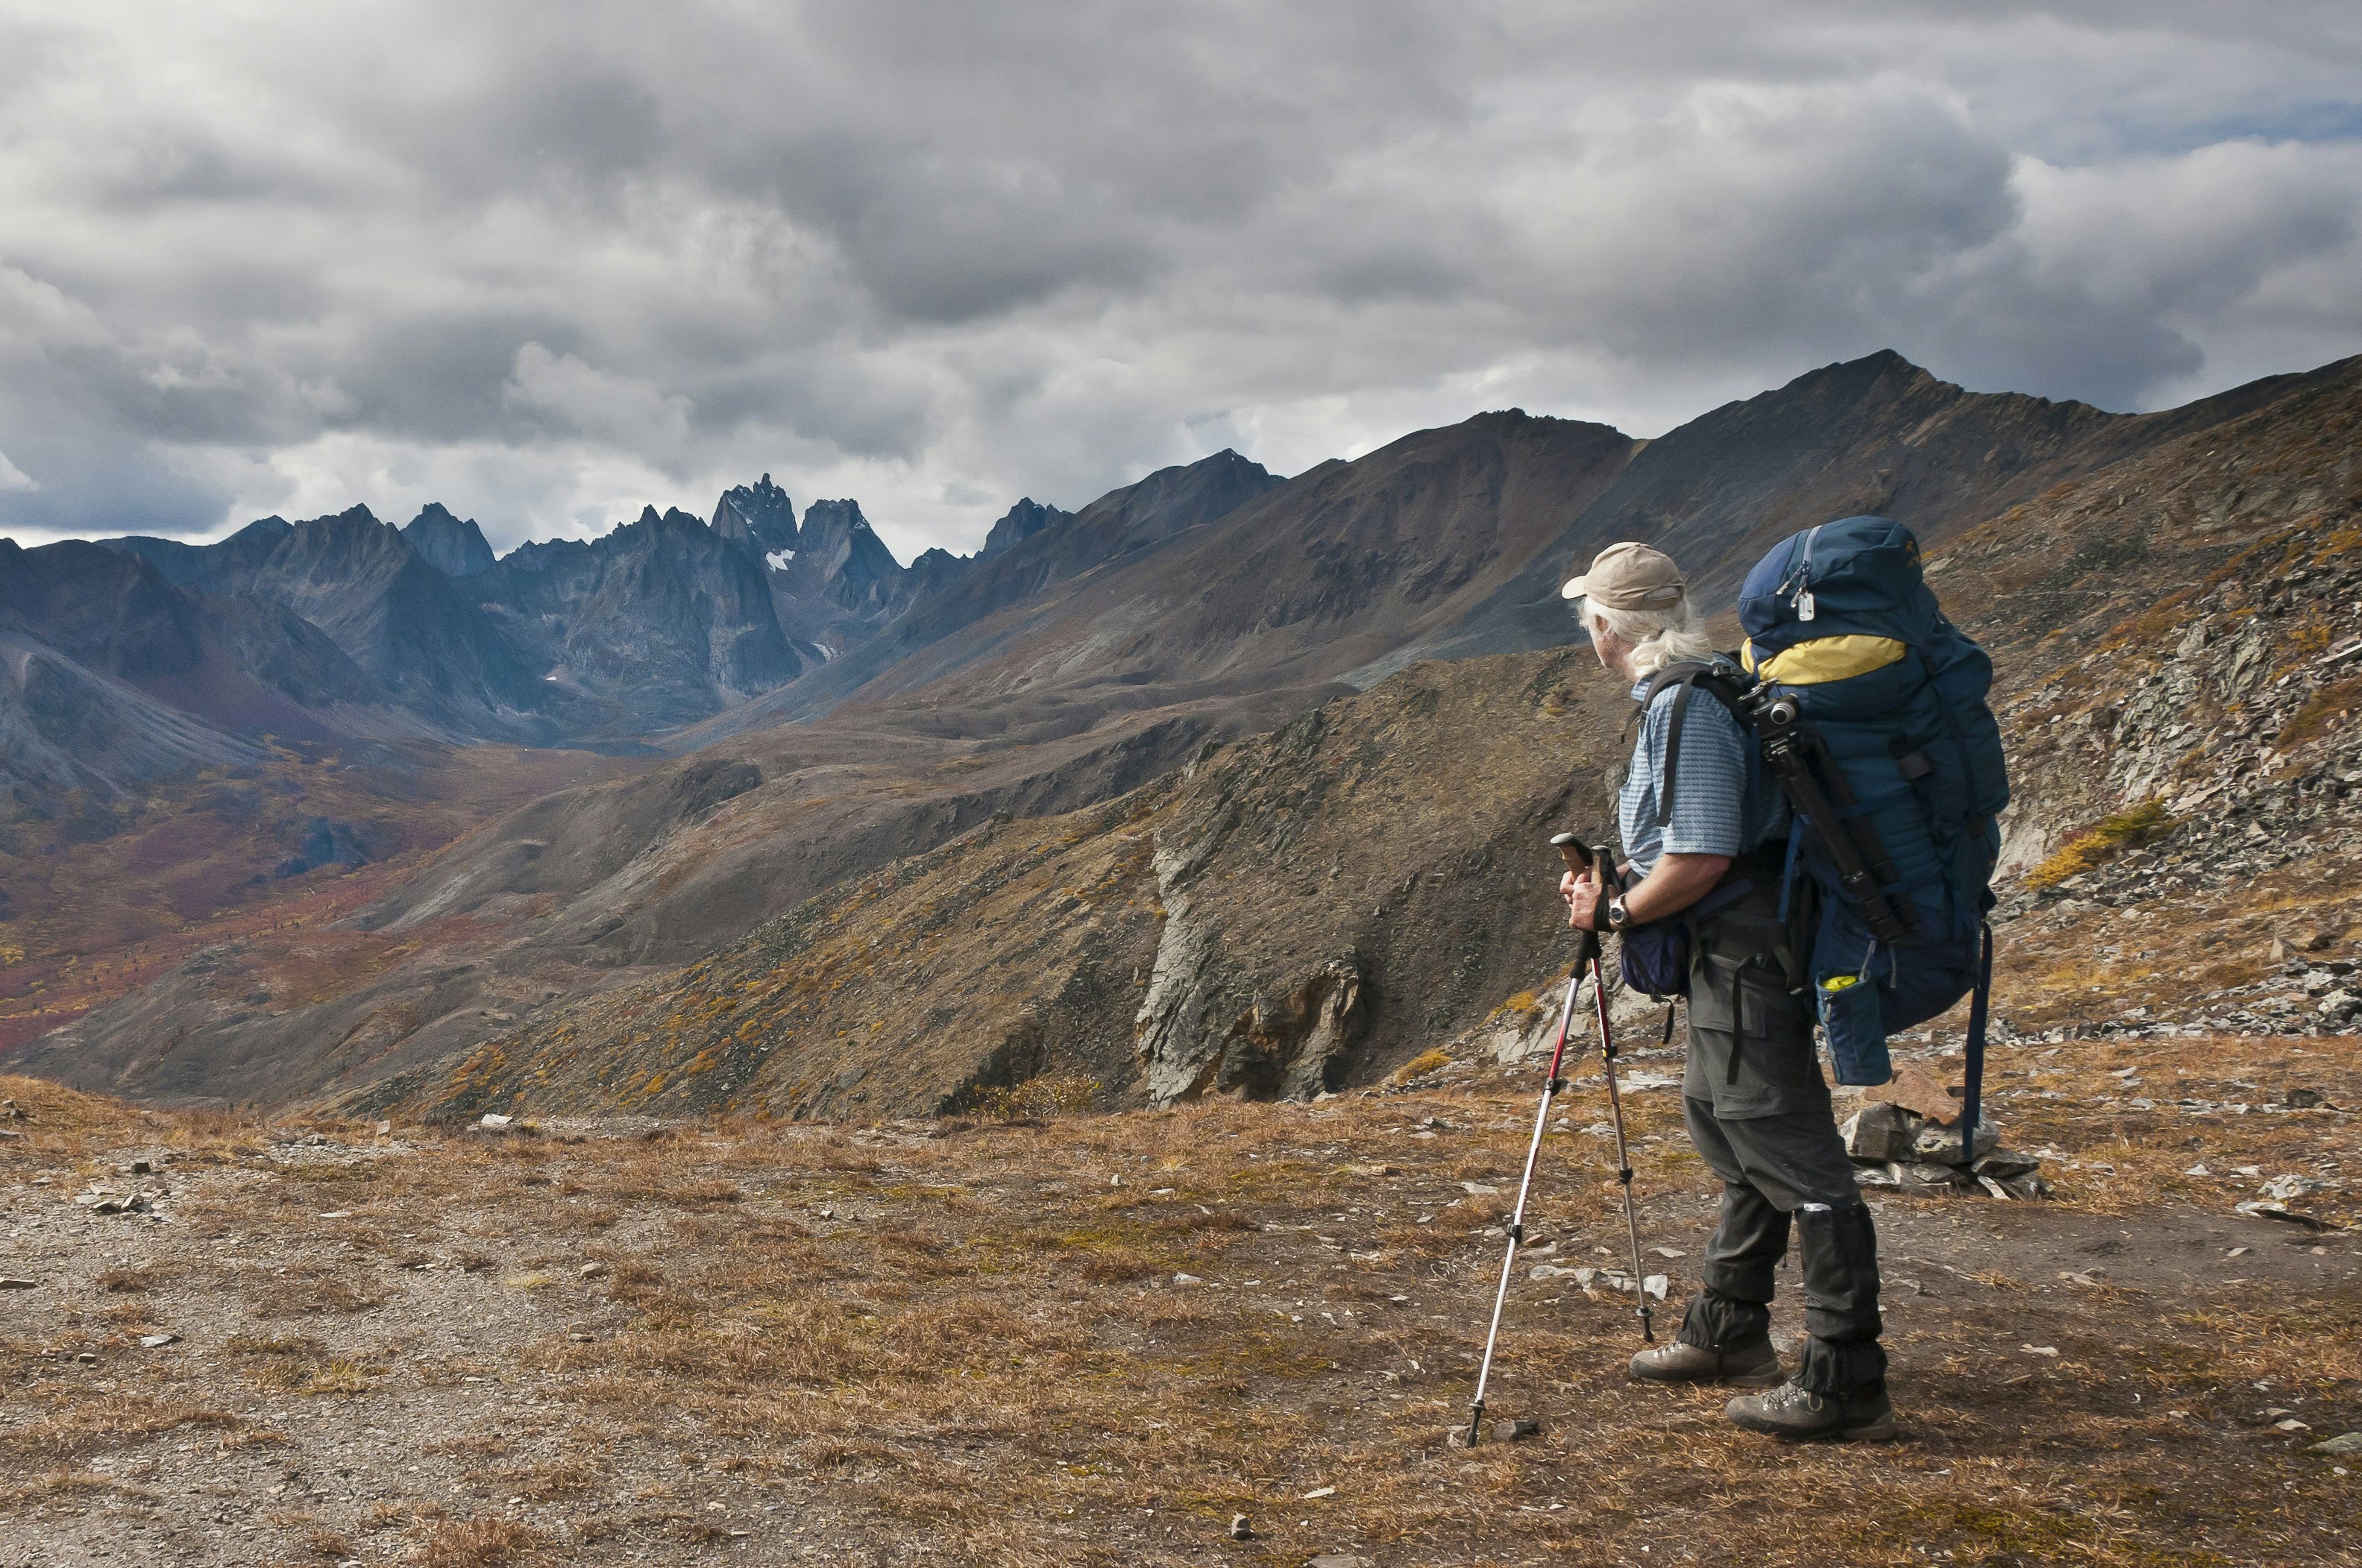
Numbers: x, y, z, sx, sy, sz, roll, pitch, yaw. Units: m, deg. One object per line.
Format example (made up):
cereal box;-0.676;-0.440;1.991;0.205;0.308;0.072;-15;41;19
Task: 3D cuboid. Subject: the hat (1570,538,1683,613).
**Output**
hat;5.184;-2.404;21.569;1.235;0.512;0.923;13;15;35
